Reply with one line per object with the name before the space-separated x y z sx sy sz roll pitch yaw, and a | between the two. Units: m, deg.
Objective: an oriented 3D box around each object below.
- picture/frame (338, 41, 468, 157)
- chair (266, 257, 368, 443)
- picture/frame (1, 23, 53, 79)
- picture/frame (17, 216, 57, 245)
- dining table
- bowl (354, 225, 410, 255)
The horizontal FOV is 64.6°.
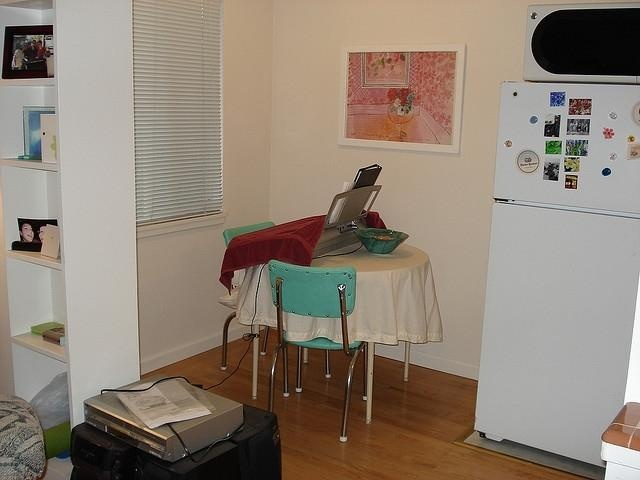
picture/frame | 0.643 -1.044 3.695 0.853 0.700 0.061 10 17 30
chair | 0.006 0.593 3.047 0.580 0.950 0.634 5 7 31
picture/frame | -1.319 -0.839 2.269 0.261 0.253 0.026 11 -3 12
picture/frame | -1.376 -0.059 2.462 0.208 0.141 0.112 3 8 8
dining table | 0.281 0.398 3.284 1.161 0.790 1.075 5 13 25
bowl | 0.373 -0.004 3.264 0.224 0.079 0.219 4 9 -1
